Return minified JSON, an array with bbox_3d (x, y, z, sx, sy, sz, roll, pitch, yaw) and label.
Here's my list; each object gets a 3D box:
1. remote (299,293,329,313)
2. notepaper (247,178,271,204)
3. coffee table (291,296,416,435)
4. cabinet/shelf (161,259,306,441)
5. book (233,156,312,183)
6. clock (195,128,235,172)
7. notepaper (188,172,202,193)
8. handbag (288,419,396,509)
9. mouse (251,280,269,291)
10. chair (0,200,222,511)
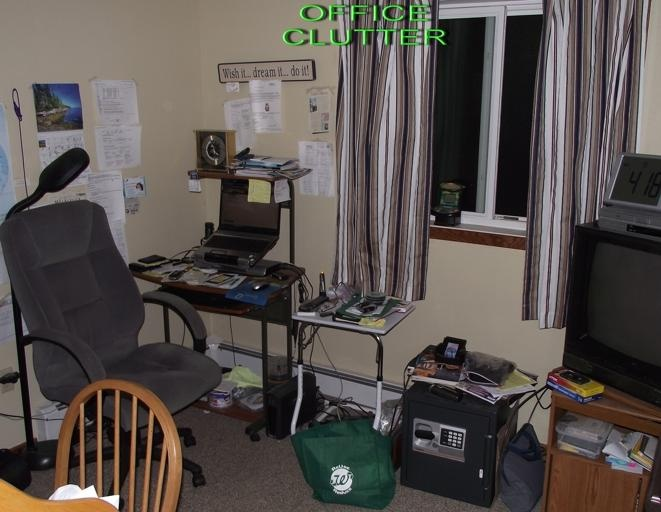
[{"bbox_3d":[-0.099,0.256,3.145,0.075,0.036,0.148,2,19,28],"label":"remote"},{"bbox_3d":[-0.459,-0.420,3.505,0.140,0.151,0.037,1,4,20],"label":"notepaper"},{"bbox_3d":[0.168,0.624,3.336,0.688,0.863,0.847,3,6,21],"label":"coffee table"},{"bbox_3d":[-0.571,0.564,3.292,0.867,0.962,0.613,5,10,27],"label":"cabinet/shelf"},{"bbox_3d":[-0.387,-0.537,3.466,0.536,0.146,0.187,-1,18,1],"label":"book"},{"bbox_3d":[-0.763,-0.699,3.636,0.256,0.259,0.113,5,11,20],"label":"clock"},{"bbox_3d":[-0.928,-0.502,3.750,0.114,0.128,0.031,12,22,27],"label":"notepaper"},{"bbox_3d":[0.067,1.091,2.830,0.375,0.352,0.156,1,10,13],"label":"handbag"},{"bbox_3d":[-0.410,0.168,3.202,0.093,0.029,0.138,-4,19,-6],"label":"mouse"},{"bbox_3d":[-1.022,0.280,3.542,1.328,2.167,1.282,6,13,30],"label":"chair"}]
